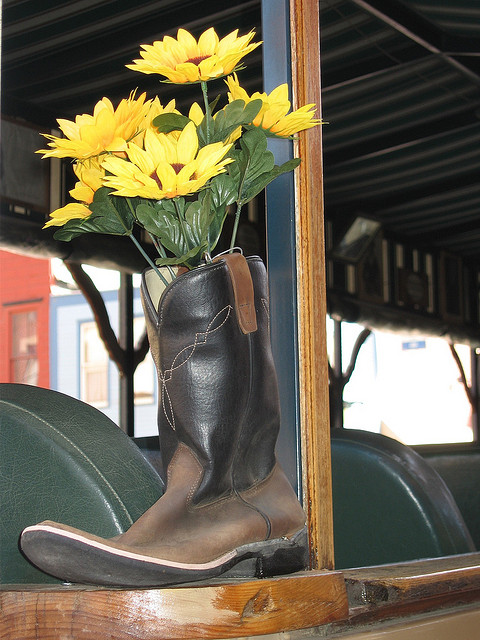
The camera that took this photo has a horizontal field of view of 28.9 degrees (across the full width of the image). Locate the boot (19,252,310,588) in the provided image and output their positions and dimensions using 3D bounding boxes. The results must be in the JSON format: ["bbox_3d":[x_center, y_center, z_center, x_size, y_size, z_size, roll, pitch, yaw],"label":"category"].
[{"bbox_3d":[-0.059,0.078,0.770,0.268,0.272,0.106,4,-5,-39],"label":"boot"}]

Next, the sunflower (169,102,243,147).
[{"bbox_3d":[-0.027,-0.181,0.857,0.056,0.021,0.055,-35,33,-17],"label":"sunflower"}]

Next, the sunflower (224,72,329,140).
[{"bbox_3d":[0.032,-0.183,0.834,0.073,0.059,0.077,0,-1,-43],"label":"sunflower"}]
